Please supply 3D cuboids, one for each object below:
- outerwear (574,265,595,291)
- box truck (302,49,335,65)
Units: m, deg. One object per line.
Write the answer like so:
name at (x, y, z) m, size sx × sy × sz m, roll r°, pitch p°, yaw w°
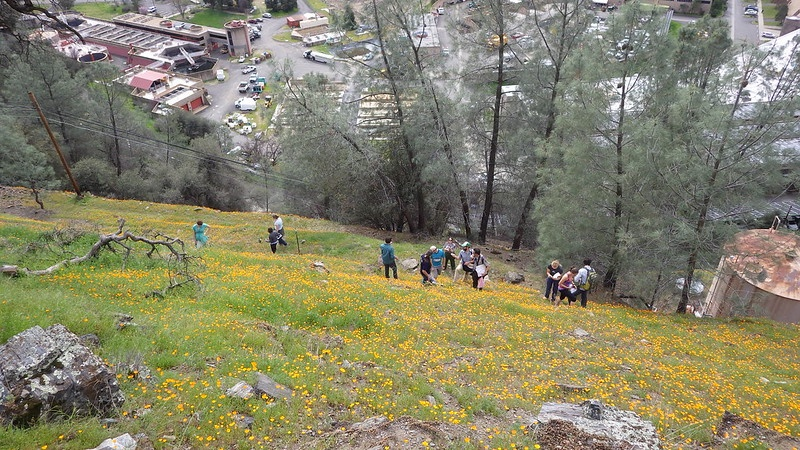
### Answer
outerwear at (14.085, 4.009, 39.310) m, size 1.688 × 2.063 × 1.122 m, roll -7°, pitch 34°, yaw -1°
box truck at (-19.478, -38.977, 121.360) m, size 6.756 × 3.359 × 4.081 m, roll 9°, pitch 11°, yaw 19°
